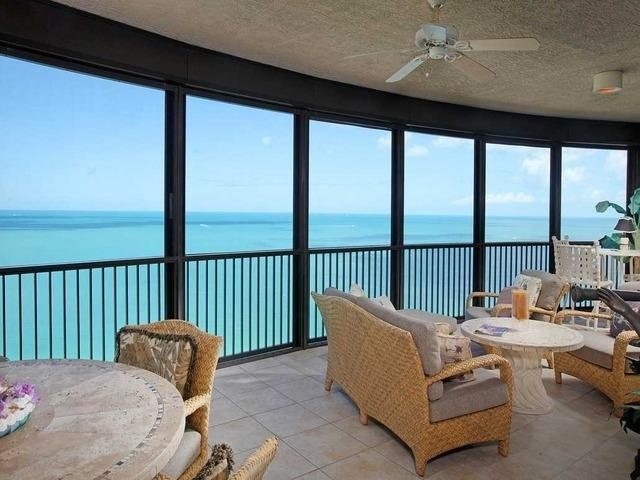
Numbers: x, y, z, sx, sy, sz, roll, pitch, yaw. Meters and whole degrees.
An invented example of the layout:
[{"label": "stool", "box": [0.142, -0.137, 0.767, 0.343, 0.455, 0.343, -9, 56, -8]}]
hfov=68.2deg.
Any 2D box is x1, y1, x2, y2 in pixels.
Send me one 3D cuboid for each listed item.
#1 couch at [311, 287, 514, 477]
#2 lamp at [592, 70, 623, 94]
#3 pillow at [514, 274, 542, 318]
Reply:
[{"label": "couch", "box": [0.692, 0.652, 3.768, 1.102, 1.140, 1.837, -2, 3, -26]}, {"label": "lamp", "box": [3.218, -1.694, 5.239, 0.245, 0.169, 0.239, 11, -8, -20]}, {"label": "pillow", "box": [2.055, 0.562, 4.647, 0.150, 0.295, 0.432, 0, 3, 10]}]
